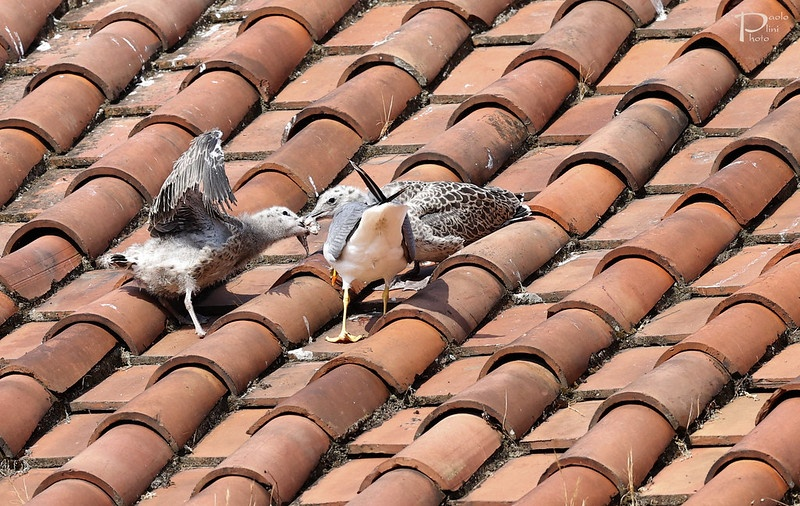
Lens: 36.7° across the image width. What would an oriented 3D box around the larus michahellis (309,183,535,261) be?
[{"bbox_3d":[0.184,-0.285,8.443,1.249,0.480,0.603,-14,5,-11],"label":"larus michahellis"}]
